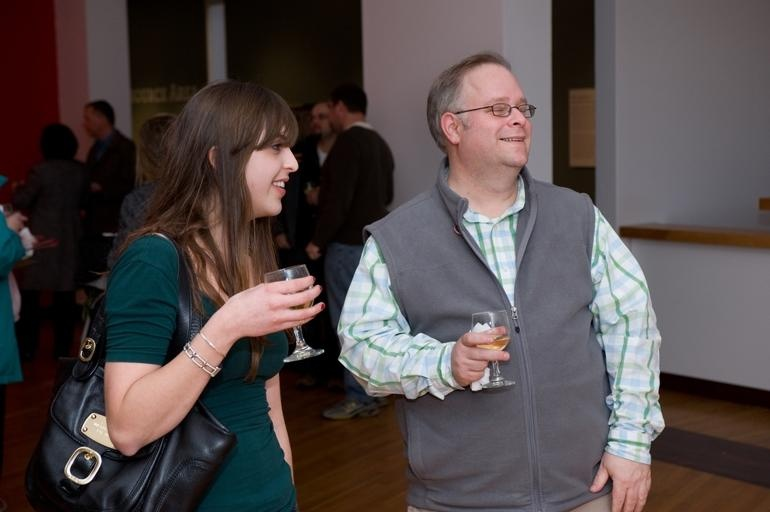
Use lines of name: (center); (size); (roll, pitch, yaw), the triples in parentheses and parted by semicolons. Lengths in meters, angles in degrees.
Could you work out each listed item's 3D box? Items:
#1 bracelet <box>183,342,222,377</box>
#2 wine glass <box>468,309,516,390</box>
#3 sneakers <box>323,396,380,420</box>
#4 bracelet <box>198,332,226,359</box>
bracelet: (-0.488, 0.276, 1.542); (0.086, 0.027, 0.088); (35, -13, 17)
wine glass: (0.339, 0.292, 1.805); (0.142, 0.261, 0.144); (-4, 3, -34)
sneakers: (-0.256, 1.105, 4.306); (0.424, 0.193, 0.161); (0, 3, -11)
bracelet: (-0.462, 0.233, 1.523); (0.065, 0.018, 0.058); (40, -15, -10)
